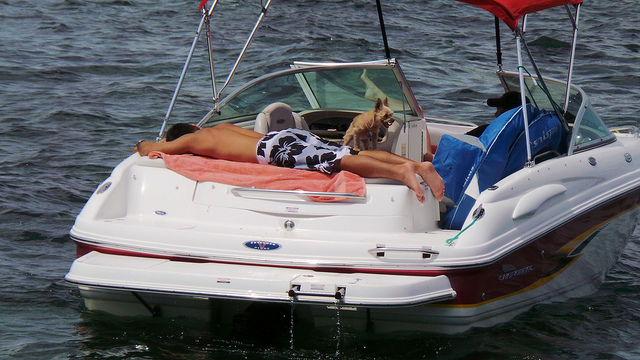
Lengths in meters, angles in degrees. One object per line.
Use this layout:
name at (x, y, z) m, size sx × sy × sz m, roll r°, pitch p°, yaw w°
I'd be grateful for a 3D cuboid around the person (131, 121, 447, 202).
person at (-0.312, -0.354, 11.340) m, size 4.630 × 0.529 × 1.194 m, roll 5°, pitch 5°, yaw 11°

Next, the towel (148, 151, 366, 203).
towel at (-0.445, 0.004, 11.089) m, size 2.182 × 0.464 × 0.214 m, roll 5°, pitch 26°, yaw -36°

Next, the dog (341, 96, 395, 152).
dog at (0.589, -0.705, 12.597) m, size 0.496 × 0.635 × 1.349 m, roll 5°, pitch -3°, yaw -21°
